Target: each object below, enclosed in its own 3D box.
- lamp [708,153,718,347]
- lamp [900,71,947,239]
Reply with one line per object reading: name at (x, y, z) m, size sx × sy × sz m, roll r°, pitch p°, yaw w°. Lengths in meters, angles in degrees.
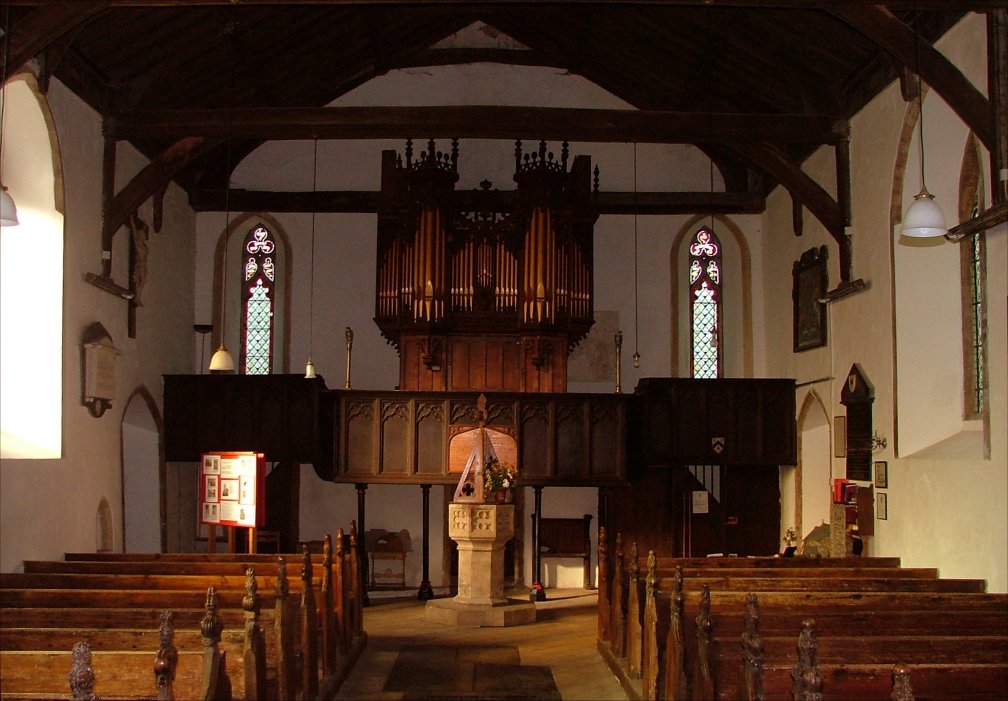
lamp at (4.153, -1.307, 29.732) m, size 0.228 × 2.677 × 0.146 m, roll -1°, pitch -9°, yaw 9°
lamp at (6.159, -2.930, 22.142) m, size 0.597 × 2.921 × 2.541 m, roll -2°, pitch -10°, yaw 17°
